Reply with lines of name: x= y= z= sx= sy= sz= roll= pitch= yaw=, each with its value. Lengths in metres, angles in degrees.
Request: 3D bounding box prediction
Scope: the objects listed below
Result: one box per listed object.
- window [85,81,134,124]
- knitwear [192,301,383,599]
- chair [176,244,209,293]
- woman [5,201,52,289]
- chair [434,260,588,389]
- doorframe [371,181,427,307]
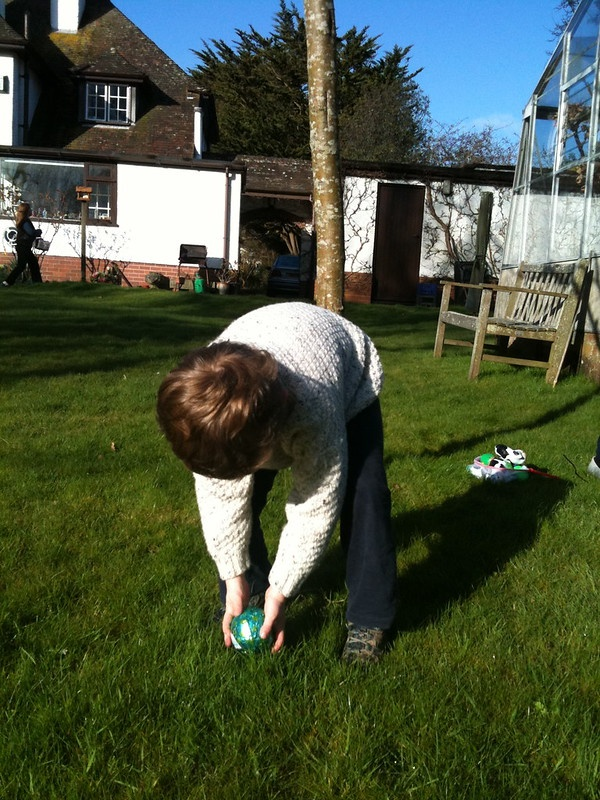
window: x=-6.317 y=-9.874 z=20.429 sx=0.965 sy=1.016 sz=0.091 roll=1 pitch=9 yaw=-3
knitwear: x=-0.094 y=0.075 z=1.742 sx=0.435 sy=0.830 sz=0.490 roll=9 pitch=29 yaw=17
chair: x=-3.164 y=-3.876 z=17.913 sx=0.966 sy=1.239 sz=1.043 roll=-3 pitch=11 yaw=-12
woman: x=-6.220 y=-3.480 z=13.863 sx=0.743 sy=1.791 sz=1.064 roll=-5 pitch=11 yaw=-23
chair: x=2.502 y=-1.034 z=7.690 sx=1.042 sy=1.573 sz=1.843 roll=5 pitch=10 yaw=-2
doorframe: x=2.825 y=-4.496 z=17.929 sx=1.361 sy=3.982 sz=0.182 roll=4 pitch=-16 yaw=9
